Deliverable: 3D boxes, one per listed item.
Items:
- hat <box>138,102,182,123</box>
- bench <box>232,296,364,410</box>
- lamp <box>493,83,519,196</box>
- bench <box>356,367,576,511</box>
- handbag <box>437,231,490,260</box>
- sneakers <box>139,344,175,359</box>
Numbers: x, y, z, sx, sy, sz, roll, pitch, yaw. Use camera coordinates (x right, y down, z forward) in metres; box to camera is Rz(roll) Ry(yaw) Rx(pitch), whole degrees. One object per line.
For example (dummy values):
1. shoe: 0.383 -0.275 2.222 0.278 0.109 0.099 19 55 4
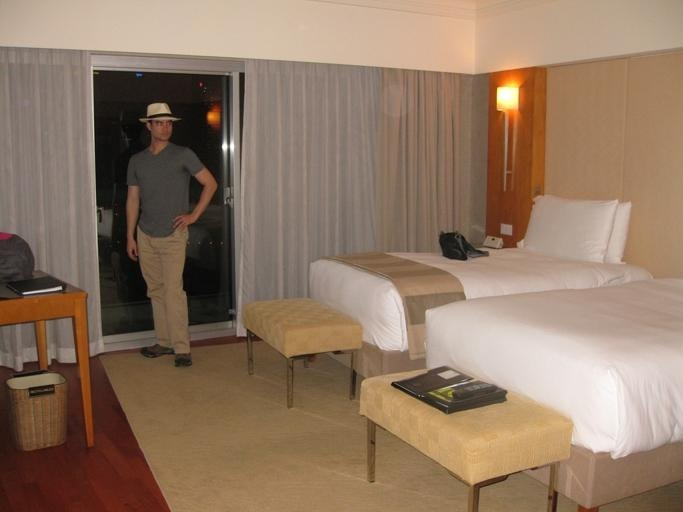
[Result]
1. hat: -1.649 -1.265 4.963 0.282 0.122 0.316 -7 9 -36
2. bench: -0.283 0.512 4.333 0.680 0.657 1.044 -2 8 -25
3. lamp: 1.803 -1.299 6.089 0.228 1.157 0.206 3 12 16
4. bench: 0.655 0.604 2.835 0.663 0.632 0.960 -6 11 -29
5. handbag: 1.077 -0.087 5.178 0.248 0.162 0.390 -7 14 -29
6. sneakers: -1.710 0.872 5.155 0.253 0.111 0.132 5 0 -20
